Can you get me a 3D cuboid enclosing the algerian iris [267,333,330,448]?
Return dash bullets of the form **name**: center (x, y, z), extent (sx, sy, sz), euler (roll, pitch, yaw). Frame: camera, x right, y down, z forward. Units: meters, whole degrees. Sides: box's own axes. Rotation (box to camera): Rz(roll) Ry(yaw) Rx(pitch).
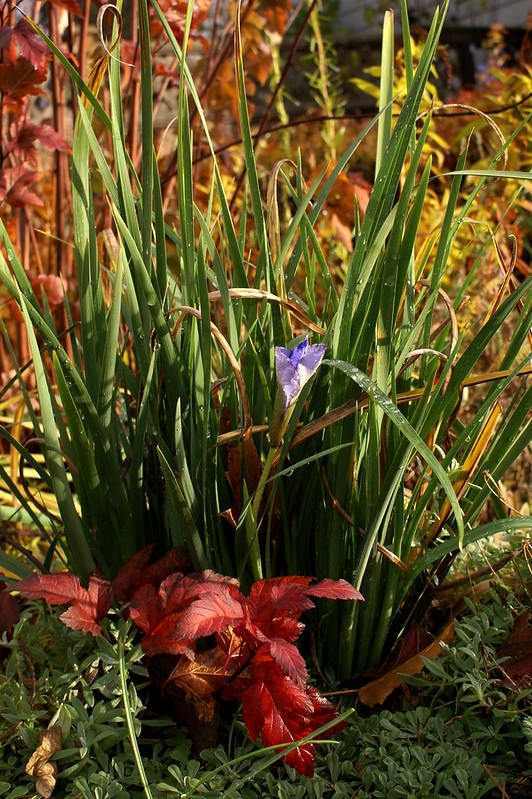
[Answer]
- **algerian iris**: center (0.016, -0.001, 0.606), extent (0.044, 0.105, 0.033), euler (-18, 38, -37)
